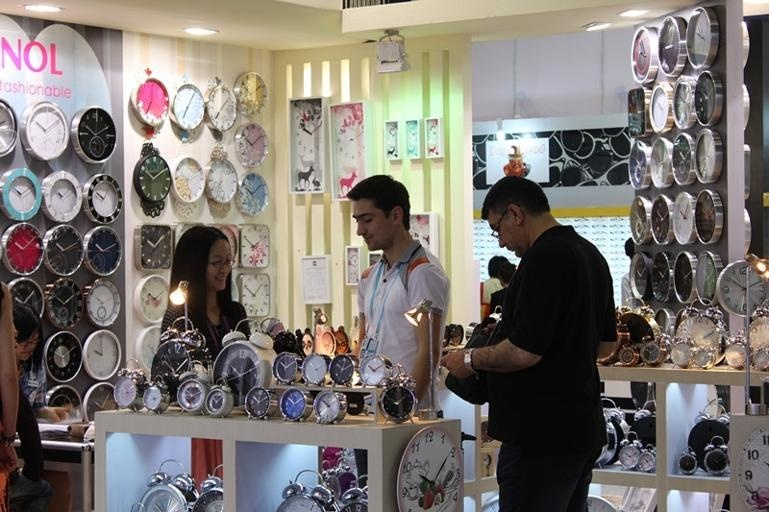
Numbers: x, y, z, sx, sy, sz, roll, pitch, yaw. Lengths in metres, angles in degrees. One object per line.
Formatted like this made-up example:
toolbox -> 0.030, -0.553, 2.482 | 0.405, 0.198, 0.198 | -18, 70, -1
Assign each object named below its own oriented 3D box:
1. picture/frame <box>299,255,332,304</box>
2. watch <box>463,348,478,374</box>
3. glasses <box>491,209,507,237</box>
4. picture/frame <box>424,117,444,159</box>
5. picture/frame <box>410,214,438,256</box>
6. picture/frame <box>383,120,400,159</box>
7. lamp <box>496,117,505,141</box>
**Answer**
picture/frame -> -0.770, 0.252, 7.894 | 0.420, 0.726, 0.208 | -3, -7, 23
watch -> 0.426, 0.529, 3.642 | 0.053, 0.101, 0.091 | 1, 1, 26
glasses -> 0.599, -0.183, 3.689 | 0.035, 0.132, 0.119 | 4, -14, 6
picture/frame -> 0.529, -1.274, 7.597 | 0.209, 0.436, 0.115 | -2, 2, 3
picture/frame -> 0.381, -0.209, 6.573 | 0.364, 0.511, 0.057 | -5, -5, 38
picture/frame -> 0.085, -1.274, 7.704 | 0.176, 0.449, 0.043 | 6, 12, 25
lamp -> 1.976, -2.165, 12.077 | 0.143, 0.354, 0.158 | -2, 3, 11
